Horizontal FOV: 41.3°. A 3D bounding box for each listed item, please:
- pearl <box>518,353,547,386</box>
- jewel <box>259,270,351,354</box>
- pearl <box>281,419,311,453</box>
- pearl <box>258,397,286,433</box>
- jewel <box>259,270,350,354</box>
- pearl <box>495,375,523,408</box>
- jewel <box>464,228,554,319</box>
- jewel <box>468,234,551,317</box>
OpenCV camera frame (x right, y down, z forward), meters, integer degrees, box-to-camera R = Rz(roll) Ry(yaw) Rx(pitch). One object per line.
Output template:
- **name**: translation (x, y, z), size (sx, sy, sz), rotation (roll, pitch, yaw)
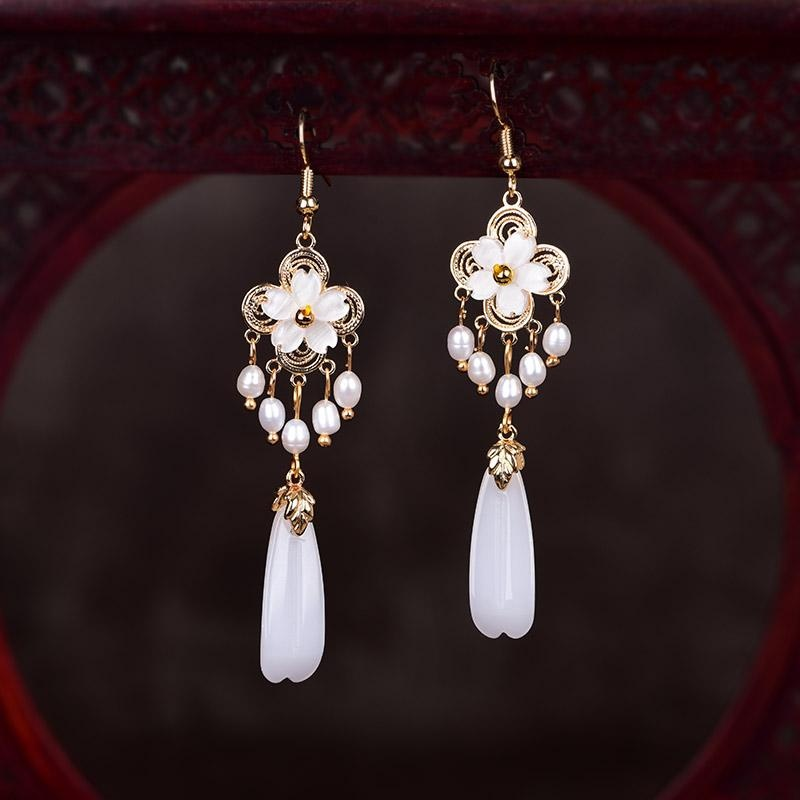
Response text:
- **pearl**: translation (0.220, -0.054, 1.804), size (0.054, 0.052, 0.075), rotation (-2, 98, 1)
- **jewel**: translation (-0.165, -0.143, 1.852), size (0.145, 0.060, 0.143), rotation (19, 91, -5)
- **pearl**: translation (-0.175, 0.061, 1.791), size (0.043, 0.045, 0.057), rotation (-1, 90, -7)
- **pearl**: translation (-0.217, 0.026, 1.803), size (0.053, 0.053, 0.083), rotation (0, 96, 2)
- **jewel**: translation (-0.162, -0.147, 1.801), size (0.141, 0.061, 0.144), rotation (20, 91, -4)
- **pearl**: translation (0.184, -0.014, 1.798), size (0.045, 0.031, 0.055), rotation (0, 86, -1)
- **jewel**: translation (0.178, -0.215, 1.796), size (0.161, 0.052, 0.154), rotation (-5, 85, -10)
- **jewel**: translation (0.180, -0.210, 1.802), size (0.155, 0.156, 0.051), rotation (13, 46, 20)
